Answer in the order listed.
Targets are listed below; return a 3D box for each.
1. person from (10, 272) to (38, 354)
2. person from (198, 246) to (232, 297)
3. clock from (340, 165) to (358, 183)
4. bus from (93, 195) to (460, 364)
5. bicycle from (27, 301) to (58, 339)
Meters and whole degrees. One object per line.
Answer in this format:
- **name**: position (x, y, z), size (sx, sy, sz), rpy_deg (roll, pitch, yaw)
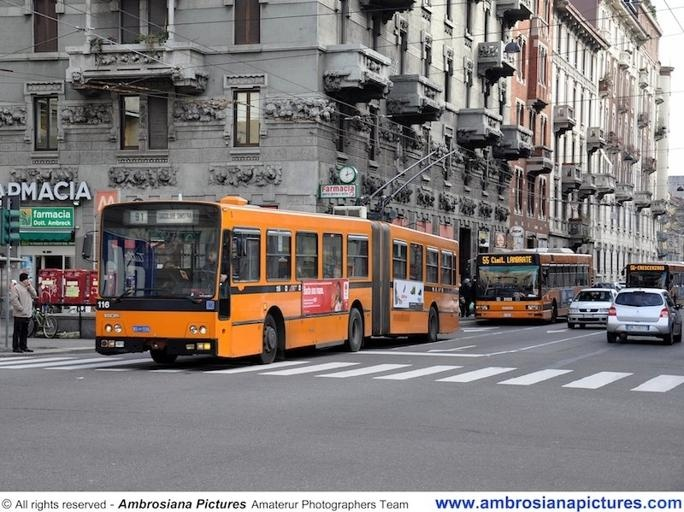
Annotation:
- **person**: position (-8.035, 1.434, 29.460), size (0.464, 2.049, 0.890), rpy_deg (0, 0, 20)
- **person**: position (-2.661, 0.332, 24.510), size (0.702, 1.130, 0.289), rpy_deg (0, 0, -5)
- **clock**: position (0.202, -2.958, 43.009), size (0.500, 0.515, 0.194), rpy_deg (-42, -20, 33)
- **bus**: position (-1.041, 0.889, 30.466), size (3.327, 3.672, 13.304), rpy_deg (-1, -3, 25)
- **bicycle**: position (-8.762, 1.985, 35.191), size (1.166, 0.841, 0.608), rpy_deg (4, 0, 16)
